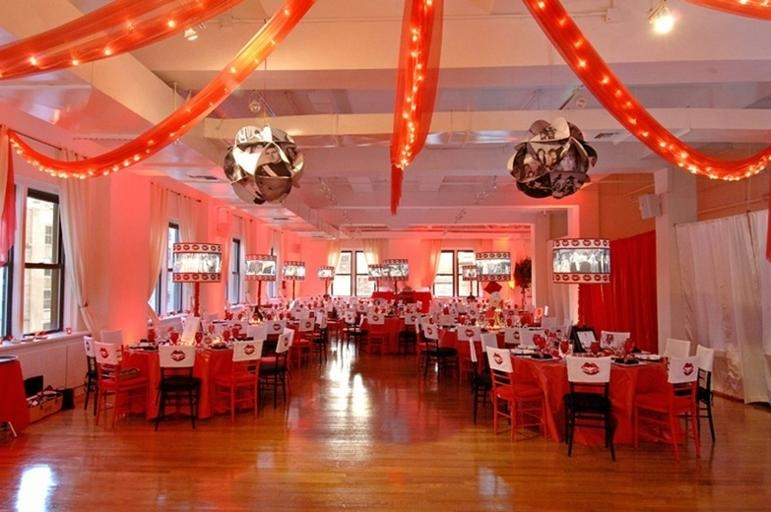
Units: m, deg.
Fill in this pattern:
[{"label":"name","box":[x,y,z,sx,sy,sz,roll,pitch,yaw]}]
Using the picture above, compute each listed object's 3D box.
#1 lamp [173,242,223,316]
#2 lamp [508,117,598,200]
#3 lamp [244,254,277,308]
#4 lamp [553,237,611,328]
[{"label":"lamp","box":[-3.641,0.553,10.985,0.931,1.533,0.957,3,4,23]},{"label":"lamp","box":[1.890,-1.072,6.620,0.897,0.829,0.897,-4,8,1]},{"label":"lamp","box":[-3.026,0.572,13.726,0.862,1.398,0.818,7,16,4]},{"label":"lamp","box":[3.121,0.157,9.520,0.825,1.266,0.853,0,-4,-1]}]
